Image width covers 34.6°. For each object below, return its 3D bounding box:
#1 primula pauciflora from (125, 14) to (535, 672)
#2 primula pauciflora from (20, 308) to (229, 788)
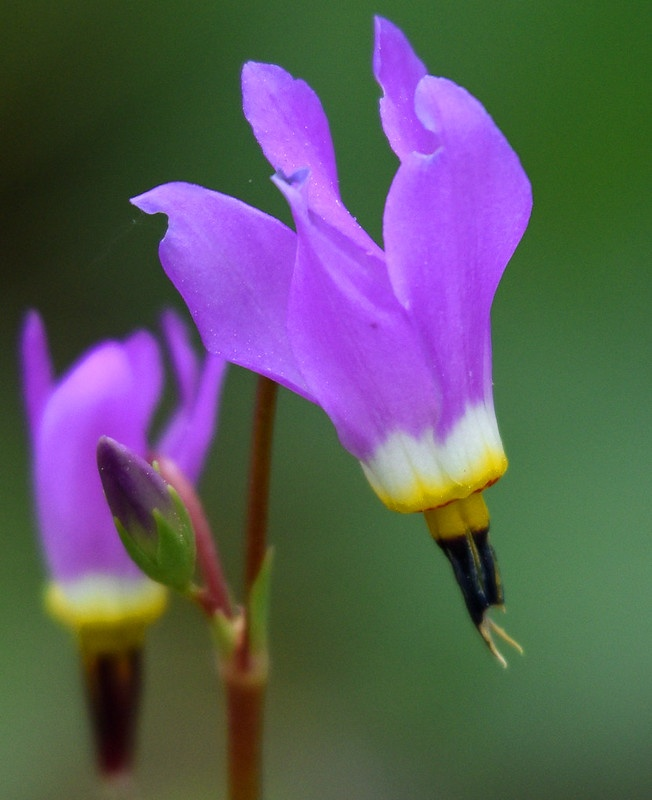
[{"bbox_3d":[0.026,-0.034,0.630,0.185,0.398,0.244,-18,21,2],"label":"primula pauciflora"},{"bbox_3d":[-0.156,0.104,0.790,0.110,0.355,0.133,1,5,26],"label":"primula pauciflora"}]
